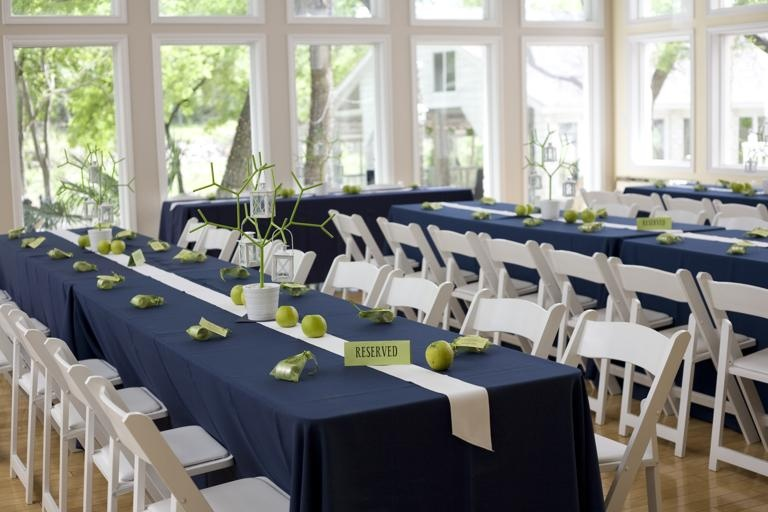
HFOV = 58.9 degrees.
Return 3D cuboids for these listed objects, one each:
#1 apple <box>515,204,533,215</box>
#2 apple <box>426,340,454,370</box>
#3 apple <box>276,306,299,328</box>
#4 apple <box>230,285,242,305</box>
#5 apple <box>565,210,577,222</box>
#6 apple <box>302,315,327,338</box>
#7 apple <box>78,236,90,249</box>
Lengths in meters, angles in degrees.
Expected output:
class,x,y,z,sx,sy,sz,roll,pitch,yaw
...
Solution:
class,x,y,z,sx,sy,sz,roll,pitch,yaw
apple,1.222,-0.408,5.982,0.160,0.100,0.095,-2,3,-40
apple,0.219,0.394,2.716,0.106,0.116,0.105,-8,11,-26
apple,-0.453,0.290,3.254,0.095,0.103,0.099,0,10,26
apple,-0.771,0.213,3.663,0.087,0.092,0.089,-1,1,-6
apple,1.497,-0.331,5.503,0.086,0.086,0.089,0,10,-10
apple,-0.312,0.317,3.107,0.097,0.100,0.100,-5,8,19
apple,-2.296,-0.109,5.240,0.087,0.089,0.088,-8,6,-24
